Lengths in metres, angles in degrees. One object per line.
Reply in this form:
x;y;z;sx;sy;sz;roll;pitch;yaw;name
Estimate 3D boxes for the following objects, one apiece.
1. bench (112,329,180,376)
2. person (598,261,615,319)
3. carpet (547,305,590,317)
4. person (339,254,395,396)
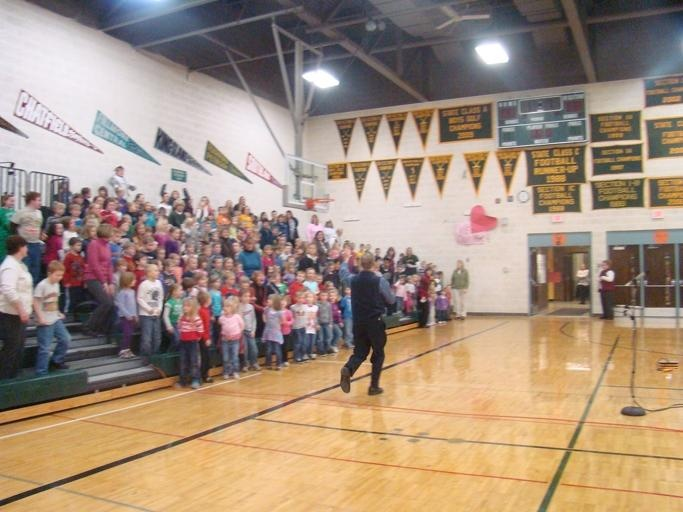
-2.891;1.536;8.400;0.901;0.446;0.824;0;-3;28;bench
8.139;1.011;16.181;0.366;1.781;0.583;-1;1;23;person
8.251;1.973;19.072;1.267;0.142;4.286;-1;1;26;carpet
0.352;0.960;7.296;0.728;1.414;0.656;-1;1;1;person
